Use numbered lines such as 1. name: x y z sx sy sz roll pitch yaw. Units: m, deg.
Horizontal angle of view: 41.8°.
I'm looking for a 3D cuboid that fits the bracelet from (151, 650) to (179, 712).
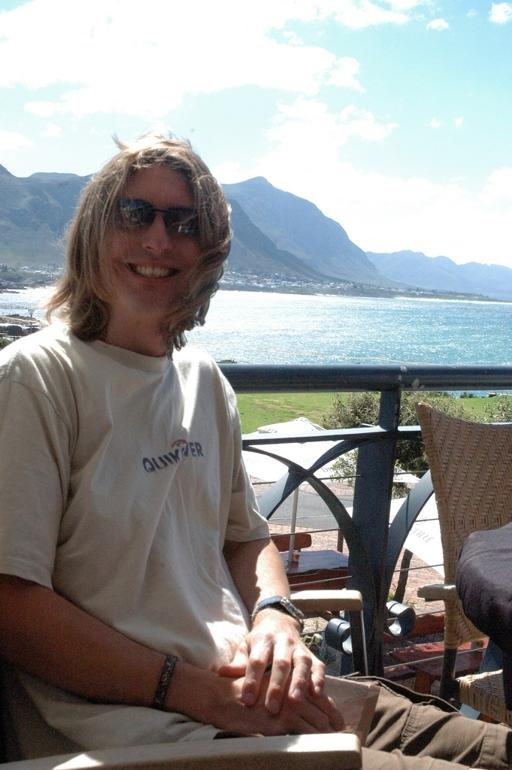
1. bracelet: -0.138 0.450 1.012 0.023 0.070 0.046 6 9 15
